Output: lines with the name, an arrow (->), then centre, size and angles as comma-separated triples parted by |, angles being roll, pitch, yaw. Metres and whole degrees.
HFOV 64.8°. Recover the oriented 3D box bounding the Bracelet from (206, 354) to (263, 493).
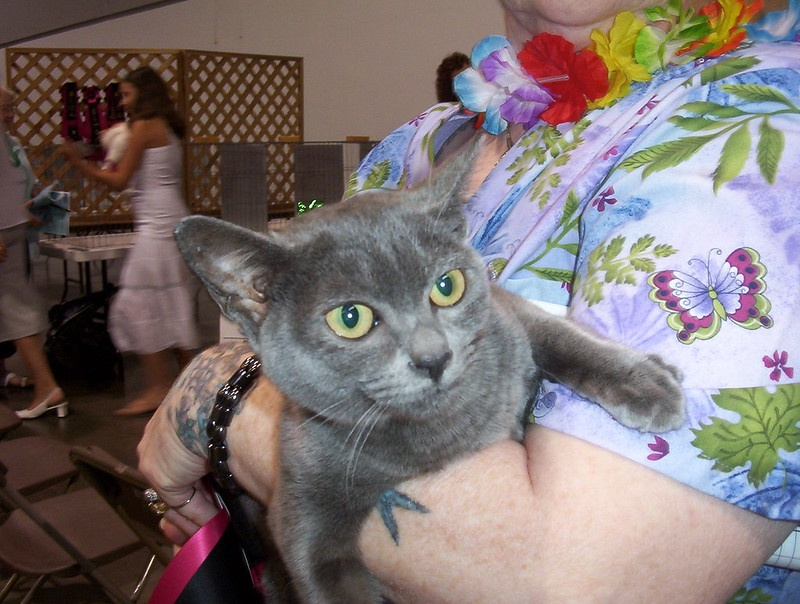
Bracelet -> -0.174, 0.117, 0.627 | 0.032, 0.120, 0.095 | 4, 8, 23
